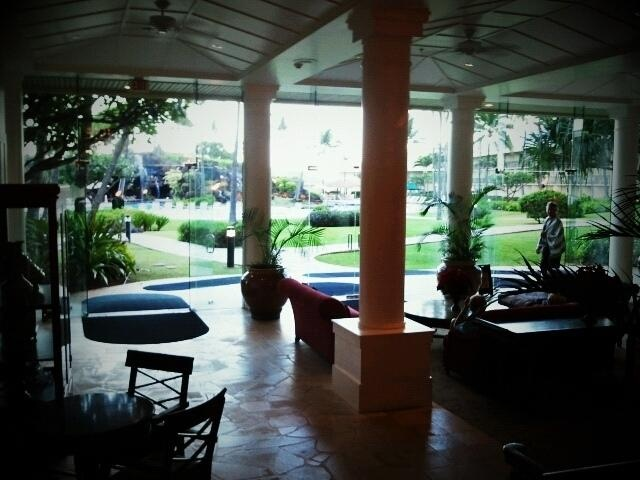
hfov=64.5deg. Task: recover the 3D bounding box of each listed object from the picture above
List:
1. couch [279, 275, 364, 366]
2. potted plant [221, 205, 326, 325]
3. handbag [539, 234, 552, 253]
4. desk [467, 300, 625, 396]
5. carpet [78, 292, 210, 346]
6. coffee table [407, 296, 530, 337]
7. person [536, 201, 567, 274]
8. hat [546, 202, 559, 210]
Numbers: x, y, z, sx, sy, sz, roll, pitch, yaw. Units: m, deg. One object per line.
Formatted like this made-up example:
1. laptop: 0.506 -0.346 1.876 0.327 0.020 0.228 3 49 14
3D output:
1. couch: 0.194 1.160 7.538 1.209 0.898 2.229 4 1 -18
2. potted plant: -0.675 0.460 9.315 2.028 1.742 1.379 2 -3 -8
3. handbag: 4.412 0.098 9.908 0.101 0.317 0.205 2 1 -37
4. desk: 2.603 1.240 5.915 2.066 1.082 1.110 -3 2 -11
5. carpet: -3.064 1.279 8.847 1.943 0.412 2.346 -3 8 -24
6. coffee table: 1.933 1.008 6.619 1.318 0.246 1.191 -1 2 -2
7. person: 4.440 -0.141 9.788 0.316 1.183 0.535 -8 11 -44
8. hat: 4.464 -0.644 9.744 0.207 0.172 0.126 5 9 34
